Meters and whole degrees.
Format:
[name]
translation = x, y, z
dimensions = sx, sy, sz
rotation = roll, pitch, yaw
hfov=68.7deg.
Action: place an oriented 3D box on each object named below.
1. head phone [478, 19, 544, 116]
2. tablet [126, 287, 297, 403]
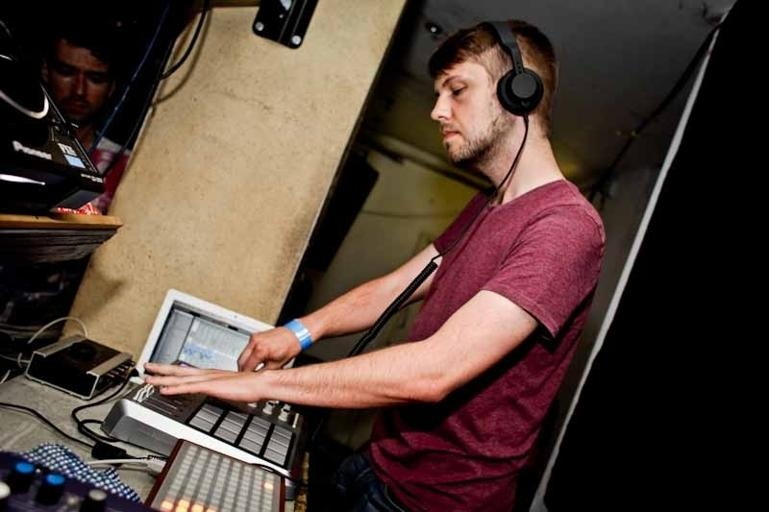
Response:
[head phone]
translation = 0.427, -0.594, 1.953
dimensions = 0.254, 0.281, 0.203
rotation = 21, -17, -23
[tablet]
translation = -0.707, 0.323, 2.201
dimensions = 0.495, 0.321, 0.366
rotation = 2, 5, -29
